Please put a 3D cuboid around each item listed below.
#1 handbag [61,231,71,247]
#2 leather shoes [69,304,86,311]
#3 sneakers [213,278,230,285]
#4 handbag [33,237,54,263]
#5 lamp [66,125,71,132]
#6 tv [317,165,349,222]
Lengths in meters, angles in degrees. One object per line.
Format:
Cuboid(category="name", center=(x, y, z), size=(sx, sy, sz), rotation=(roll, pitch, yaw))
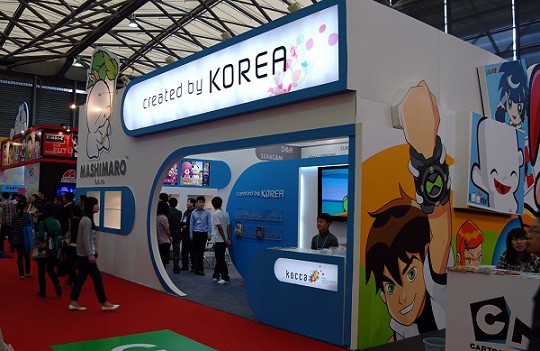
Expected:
Cuboid(category="handbag", center=(-3.673, 1.126, 6.877), size=(0.200, 0.283, 0.078), rotation=(9, -3, 32))
Cuboid(category="leather shoes", center=(-3.137, 2.123, 6.152), size=(0.253, 0.106, 0.170), rotation=(14, -11, -29))
Cuboid(category="sneakers", center=(-1.053, 2.209, 8.116), size=(0.309, 0.157, 0.133), rotation=(4, -4, 13))
Cuboid(category="handbag", center=(-3.977, 1.276, 6.632), size=(0.299, 0.421, 0.144), rotation=(5, 4, 0))
Cuboid(category="lamp", center=(-8.070, -1.889, 14.998), size=(0.263, 0.301, 0.276), rotation=(-1, 1, -15))
Cuboid(category="tv", center=(1.314, 0.339, 7.943), size=(0.651, 1.112, 0.295), rotation=(3, -10, 26))
